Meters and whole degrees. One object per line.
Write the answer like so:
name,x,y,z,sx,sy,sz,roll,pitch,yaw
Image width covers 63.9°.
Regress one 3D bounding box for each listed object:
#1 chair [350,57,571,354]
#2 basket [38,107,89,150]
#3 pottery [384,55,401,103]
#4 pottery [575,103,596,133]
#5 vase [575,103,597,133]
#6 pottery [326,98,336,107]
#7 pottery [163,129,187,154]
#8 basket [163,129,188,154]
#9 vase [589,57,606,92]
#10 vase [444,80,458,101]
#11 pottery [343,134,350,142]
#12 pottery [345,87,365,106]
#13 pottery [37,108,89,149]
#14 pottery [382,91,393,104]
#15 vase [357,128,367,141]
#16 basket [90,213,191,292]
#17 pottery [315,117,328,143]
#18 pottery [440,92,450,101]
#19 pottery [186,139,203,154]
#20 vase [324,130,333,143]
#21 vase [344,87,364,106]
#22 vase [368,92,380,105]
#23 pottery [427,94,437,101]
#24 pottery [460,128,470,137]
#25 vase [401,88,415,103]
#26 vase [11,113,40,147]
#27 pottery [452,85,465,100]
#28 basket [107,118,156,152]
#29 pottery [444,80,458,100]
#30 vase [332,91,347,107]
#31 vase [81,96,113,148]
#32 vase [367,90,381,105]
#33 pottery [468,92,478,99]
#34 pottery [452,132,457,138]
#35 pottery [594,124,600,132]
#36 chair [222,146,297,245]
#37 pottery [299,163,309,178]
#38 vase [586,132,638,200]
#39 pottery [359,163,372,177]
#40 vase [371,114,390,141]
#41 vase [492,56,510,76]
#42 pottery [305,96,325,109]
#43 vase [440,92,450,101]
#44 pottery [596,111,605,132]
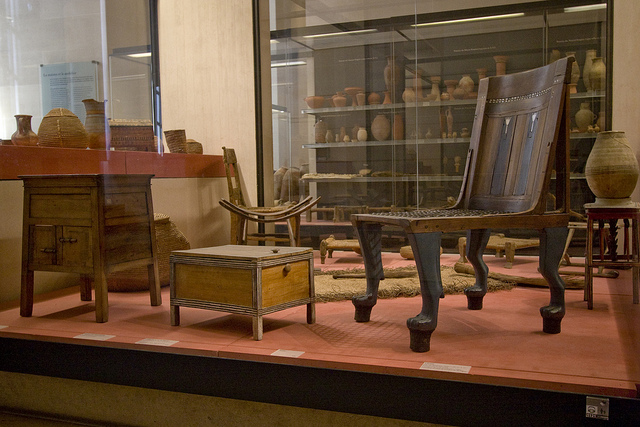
chair,0.800,-0.078,3.096,1.350,1.449,1.255,-8,7,-40
basket,-1.699,-0.548,3.338,0.329,0.263,0.360,-4,10,-15
pottery,0.575,-1.136,4.323,0.162,0.389,0.158,11,19,28
pottery,1.549,-0.571,3.021,0.143,0.215,0.147,0,7,21
vase,1.561,-0.574,3.011,0.181,0.166,0.102,-1,5,9
pottery,0.100,-1.040,4.767,0.073,0.063,0.067,-6,8,-30
pottery,-1.293,-0.654,4.599,0.188,0.207,0.103,-3,10,-13
basket,-1.279,-0.656,4.629,0.173,0.210,0.058,-5,13,1
vase,1.656,-0.837,3.061,0.116,0.182,0.114,4,9,42
vase,0.879,-0.854,3.526,0.119,0.142,0.113,-2,4,-7
pottery,0.241,-0.691,4.651,0.053,0.067,0.053,-1,0,33
pottery,0.316,-1.070,4.689,0.168,0.142,0.160,0,2,1
pottery,-1.759,-0.598,3.547,0.356,0.289,0.342,-3,10,-38
pottery,0.571,-0.983,4.354,0.094,0.094,0.091,0,5,9
vase,0.372,-0.713,4.572,0.112,0.133,0.096,0,-6,4
basket,-1.354,0.268,4.110,0.631,0.584,0.606,0,2,36
pottery,0.011,-0.789,4.812,0.123,0.232,0.041,0,10,7
pottery,0.848,-0.801,3.493,0.060,0.063,0.057,1,2,-1
pottery,-1.162,-0.626,4.742,0.145,0.127,0.137,1,6,12
vase,0.079,-0.724,4.783,0.102,0.128,0.098,-1,6,-1
vase,0.306,-1.060,4.653,0.169,0.181,0.166,0,1,-2
vase,0.469,-1.004,4.486,0.111,0.101,0.106,0,-2,1
pottery,0.777,-0.813,3.572,0.050,0.032,0.048,-1,0,-5
pottery,0.956,-0.541,3.402,0.060,0.057,0.053,-1,-4,10
vase,0.689,-0.927,4.007,0.111,0.113,0.107,3,-2,-24
vase,-1.861,-0.528,3.228,0.167,0.201,0.160,3,18,-18
pottery,0.927,-0.811,3.442,0.088,0.095,0.086,1,0,-32
basket,-1.311,-0.562,3.696,0.185,0.235,0.433,1,9,15
pottery,0.885,-0.853,3.527,0.119,0.145,0.114,-3,5,-23
vase,0.186,-1.052,4.711,0.131,0.126,0.132,1,2,41
vase,-1.465,-0.636,3.490,0.207,0.298,0.199,-14,7,38
vase,0.470,-1.009,4.488,0.130,0.119,0.124,0,-3,0
pottery,0.999,-0.778,3.362,0.046,0.028,0.046,0,2,41
pottery,0.899,-0.529,3.427,0.030,0.032,0.029,2,-1,-17
pottery,1.619,-0.502,3.006,0.034,0.057,0.042,-1,0,30
chair,-0.516,-0.205,5.065,0.722,0.926,0.635,11,9,38
pottery,-0.152,-0.436,4.961,0.092,0.092,0.091,-1,-3,36
vase,1.710,-0.274,2.976,0.156,0.396,0.293,-5,10,-20
pottery,0.405,-0.392,4.562,0.105,0.065,0.102,-2,0,20
vase,0.526,-0.748,4.449,0.205,0.218,0.197,-1,2,-21
vase,1.140,-0.928,3.257,0.113,0.127,0.112,2,2,34
pottery,-0.053,-1.055,4.852,0.215,0.119,0.049,8,13,44
vase,0.847,-0.799,3.494,0.060,0.063,0.057,1,4,-4
pottery,1.601,-0.529,2.934,0.044,0.116,0.129,4,11,27
